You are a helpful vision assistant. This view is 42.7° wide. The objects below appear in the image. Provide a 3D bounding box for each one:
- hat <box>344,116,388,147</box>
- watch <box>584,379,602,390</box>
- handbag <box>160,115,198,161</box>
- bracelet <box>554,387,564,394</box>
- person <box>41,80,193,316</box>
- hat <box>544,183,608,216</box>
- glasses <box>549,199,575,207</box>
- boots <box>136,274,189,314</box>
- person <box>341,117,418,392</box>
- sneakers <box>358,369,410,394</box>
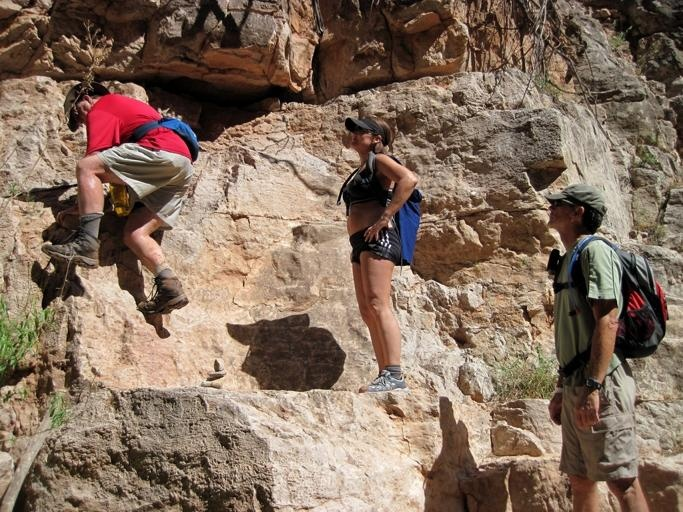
[{"bbox_3d":[0.207,-1.038,7.147,0.329,0.140,0.210,23,-12,-20],"label":"hat"},{"bbox_3d":[1.692,0.871,5.926,0.099,0.060,0.098,12,-15,35],"label":"watch"},{"bbox_3d":[-1.380,-1.037,7.448,0.270,0.368,0.156,-35,-4,-20],"label":"handbag"},{"bbox_3d":[1.580,0.988,6.381,0.041,0.029,0.041,-2,-4,31],"label":"bracelet"},{"bbox_3d":[-1.833,-0.597,7.410,1.261,2.276,1.015,-4,-28,-9],"label":"person"},{"bbox_3d":[1.712,-0.427,6.416,0.415,0.199,0.273,8,-9,24],"label":"hat"},{"bbox_3d":[1.611,-0.382,6.355,0.121,0.036,0.071,13,0,13],"label":"glasses"},{"bbox_3d":[-1.473,0.303,6.990,0.406,0.308,0.144,-16,-6,4],"label":"boots"},{"bbox_3d":[0.296,-0.036,6.878,0.627,1.896,1.282,4,18,-6],"label":"person"},{"bbox_3d":[0.284,0.960,6.616,0.405,0.170,0.141,3,-18,-14],"label":"sneakers"}]
